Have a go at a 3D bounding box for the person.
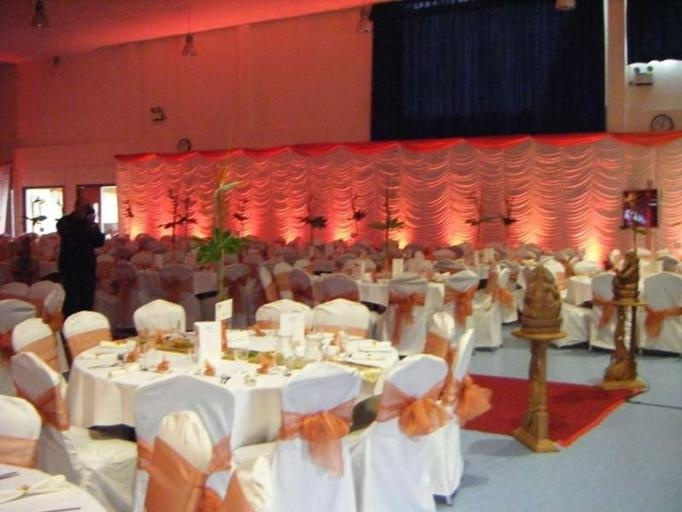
[{"bbox_3d":[-2.960,0.042,6.706,0.472,1.400,0.444,-3,13,-26],"label":"person"}]
